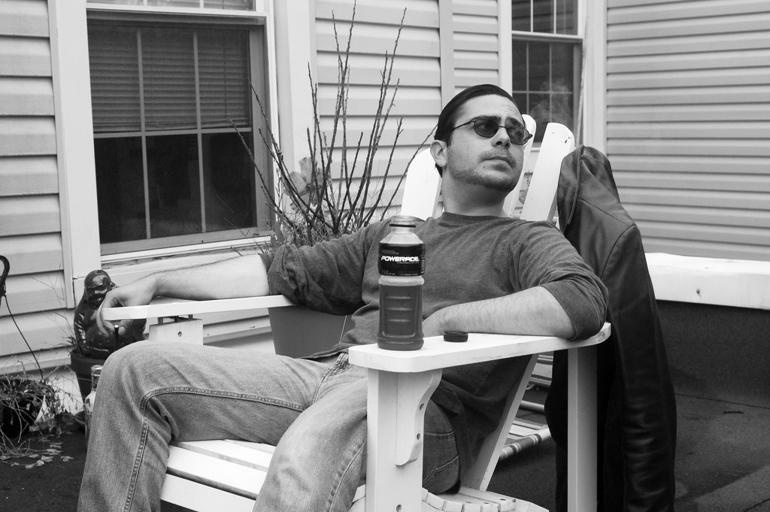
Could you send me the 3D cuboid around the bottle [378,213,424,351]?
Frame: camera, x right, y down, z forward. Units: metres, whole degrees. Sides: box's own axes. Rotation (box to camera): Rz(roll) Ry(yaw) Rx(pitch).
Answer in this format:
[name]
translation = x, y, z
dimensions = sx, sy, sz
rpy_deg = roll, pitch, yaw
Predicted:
[bottle]
translation = 0.037, 0.072, 1.543
dimensions = 0.119, 0.319, 0.119
rpy_deg = -1, 10, 0
